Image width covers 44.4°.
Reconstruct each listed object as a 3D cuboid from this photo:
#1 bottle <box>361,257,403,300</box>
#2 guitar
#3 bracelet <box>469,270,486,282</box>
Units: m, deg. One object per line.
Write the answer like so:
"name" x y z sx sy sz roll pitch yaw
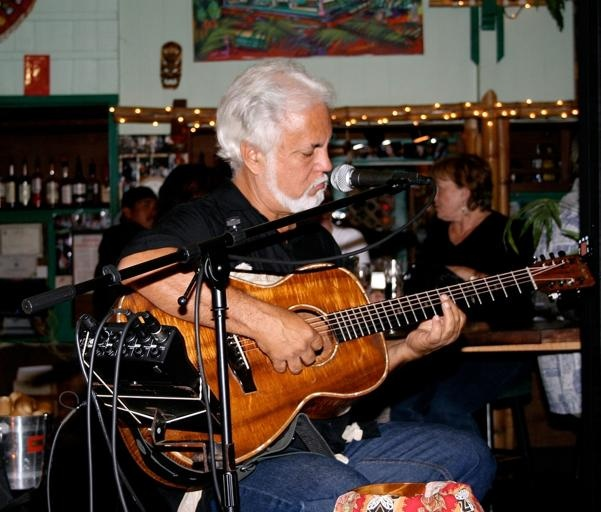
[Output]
"bottle" 0.455 0.128 4.099 0.222 0.109 0.115 -9 17 3
"guitar" 0.251 0.338 2.755 1.999 0.729 0.286 -15 -5 -27
"bracelet" 0.890 0.100 3.704 0.105 0.014 0.044 6 36 -36
